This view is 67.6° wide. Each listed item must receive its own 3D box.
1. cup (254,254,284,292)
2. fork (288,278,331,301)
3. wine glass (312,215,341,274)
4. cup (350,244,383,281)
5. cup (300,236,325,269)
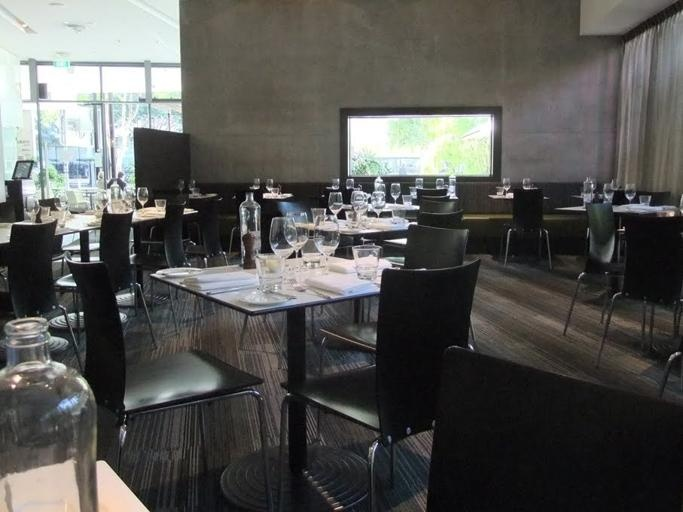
[{"bbox_3d":[-0.284,0.061,2.050,0.118,0.163,0.124,-1,6,0],"label":"cup"},{"bbox_3d":[-0.146,0.110,2.067,0.064,0.052,0.451,-17,13,-19],"label":"fork"},{"bbox_3d":[-0.065,-0.054,2.368,0.121,0.308,0.128,-1,26,-4],"label":"wine glass"},{"bbox_3d":[0.105,0.024,2.219,0.124,0.156,0.131,-2,5,0],"label":"cup"},{"bbox_3d":[-0.129,-0.021,2.459,0.114,0.214,0.132,-1,12,2],"label":"cup"}]
